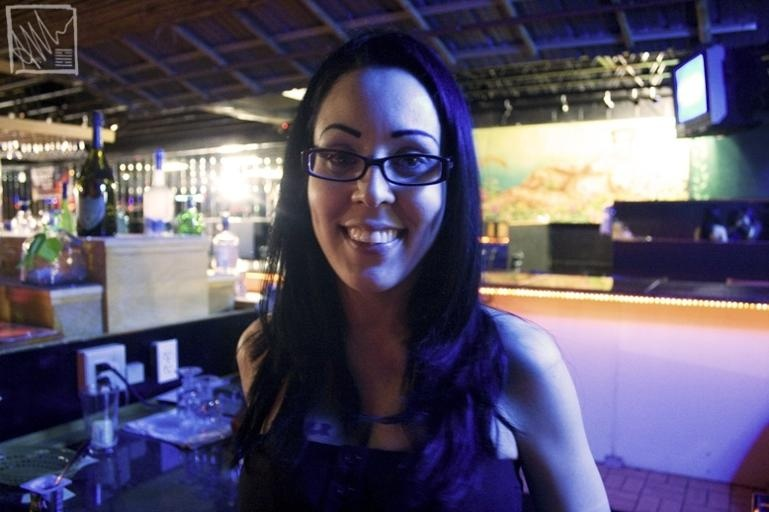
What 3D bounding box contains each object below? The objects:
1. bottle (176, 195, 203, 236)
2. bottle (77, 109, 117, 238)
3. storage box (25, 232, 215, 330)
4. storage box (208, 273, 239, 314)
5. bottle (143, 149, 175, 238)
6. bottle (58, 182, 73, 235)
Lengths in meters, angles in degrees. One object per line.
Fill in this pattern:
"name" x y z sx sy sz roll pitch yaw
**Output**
"bottle" -1.001 -0.215 3.029 0.125 0.188 0.391 -1 5 -18
"bottle" -1.304 -0.372 2.654 0.159 0.555 0.233 -2 4 -24
"storage box" -1.089 0.075 2.697 0.422 0.321 0.424 -2 5 -45
"storage box" -0.817 0.189 2.946 0.146 0.188 0.262 1 0 14
"bottle" -1.105 -0.323 2.881 0.151 0.412 0.259 -1 4 -22
"bottle" -1.534 -0.240 2.827 0.063 0.245 0.108 -2 5 -30
